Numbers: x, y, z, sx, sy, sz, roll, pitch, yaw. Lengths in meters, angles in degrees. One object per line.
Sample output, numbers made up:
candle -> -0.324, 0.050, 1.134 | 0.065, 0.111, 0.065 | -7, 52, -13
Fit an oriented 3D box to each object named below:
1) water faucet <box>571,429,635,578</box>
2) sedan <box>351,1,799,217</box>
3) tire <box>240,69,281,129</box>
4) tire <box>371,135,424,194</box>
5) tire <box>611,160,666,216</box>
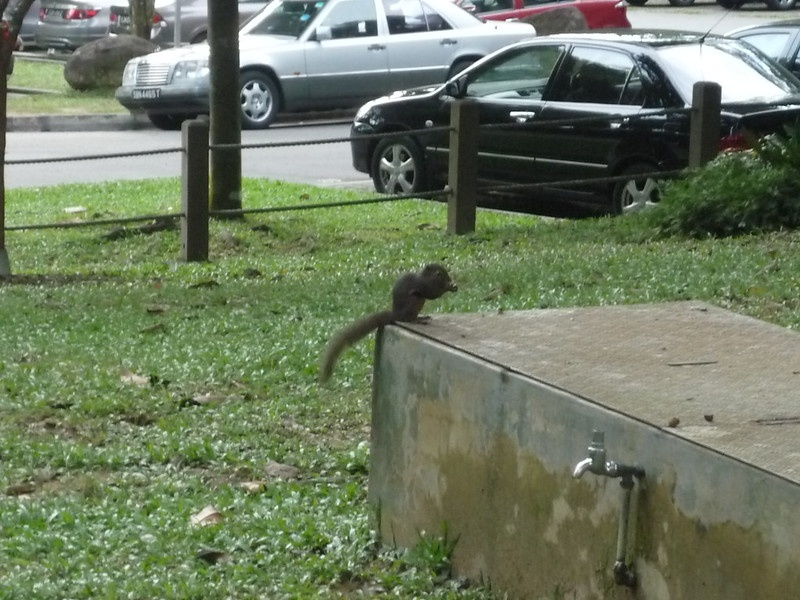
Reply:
water faucet -> 1.004, 0.999, 7.325 | 0.311, 0.590, 0.168 | -8, -4, 31
sedan -> 1.604, -1.799, 14.708 | 4.222, 1.675, 1.852 | 13, 22, 41
tire -> -1.865, -2.671, 20.847 | 0.581, 0.485, 0.670 | -6, -3, -16
tire -> -0.003, -1.350, 15.428 | 0.507, 0.601, 0.190 | 8, 12, 37
tire -> 2.075, -0.948, 13.358 | 0.429, 0.520, 0.142 | 1, 2, 25
